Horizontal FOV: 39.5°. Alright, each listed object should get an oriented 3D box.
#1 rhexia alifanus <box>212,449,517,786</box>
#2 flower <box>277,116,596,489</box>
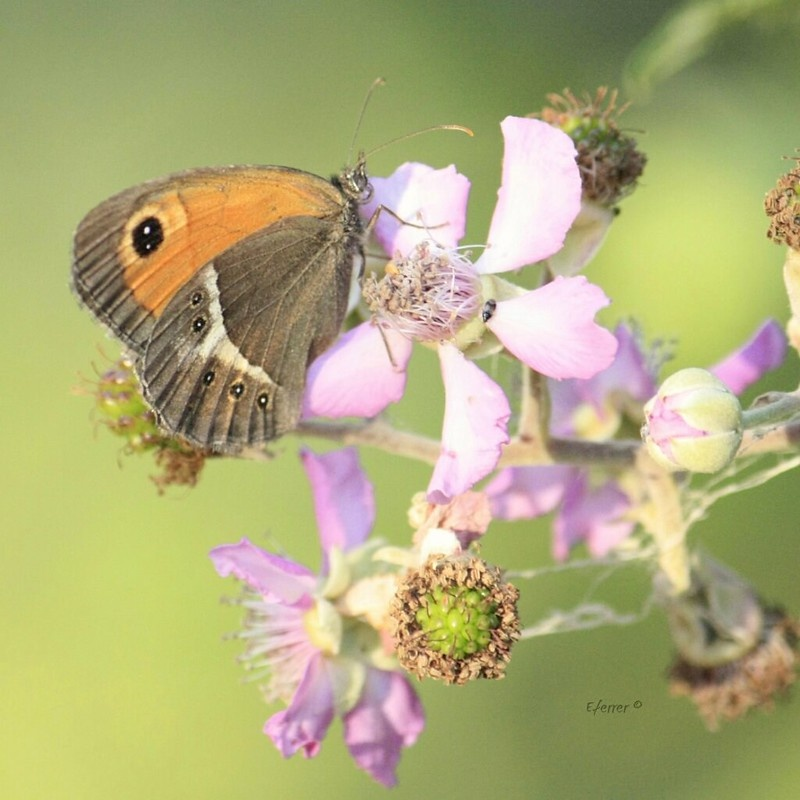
[{"bbox_3d":[-0.028,0.282,1.482,0.374,0.205,0.503,7,29,20],"label":"rhexia alifanus"},{"bbox_3d":[0.061,-0.089,1.303,0.454,0.457,0.148,-2,-10,28],"label":"flower"}]
